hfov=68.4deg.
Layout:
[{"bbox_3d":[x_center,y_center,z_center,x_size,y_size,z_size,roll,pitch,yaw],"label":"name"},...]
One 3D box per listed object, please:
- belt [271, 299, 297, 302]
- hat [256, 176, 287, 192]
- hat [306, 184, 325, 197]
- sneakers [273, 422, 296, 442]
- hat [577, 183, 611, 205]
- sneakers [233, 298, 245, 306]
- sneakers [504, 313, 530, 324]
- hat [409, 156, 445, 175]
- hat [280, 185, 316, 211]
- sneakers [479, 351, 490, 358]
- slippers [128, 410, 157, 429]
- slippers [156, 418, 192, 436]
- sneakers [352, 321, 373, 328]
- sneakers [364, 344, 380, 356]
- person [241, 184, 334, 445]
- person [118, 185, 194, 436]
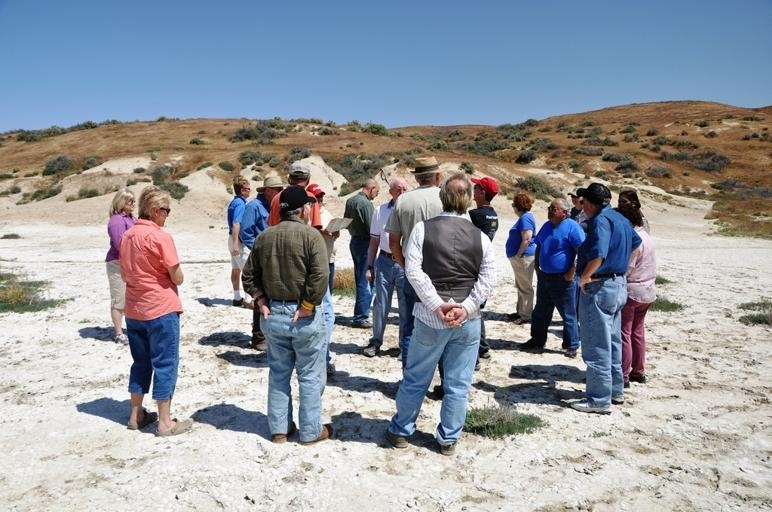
[{"bbox_3d":[-1.268,0.566,7.091,0.329,0.032,0.029,2,8,6],"label":"belt"},{"bbox_3d":[-1.885,-1.171,9.213,0.332,0.132,0.377,-1,-6,-39],"label":"hat"},{"bbox_3d":[-1.115,-1.009,8.696,0.237,0.123,0.341,0,5,-22],"label":"hat"},{"bbox_3d":[-1.332,2.316,7.465,0.135,0.139,0.360,3,9,16],"label":"sneakers"},{"bbox_3d":[2.961,-0.910,8.187,0.343,0.228,0.450,-11,26,-18],"label":"hat"},{"bbox_3d":[-2.958,0.925,11.397,0.172,0.109,0.167,0,-1,23],"label":"sneakers"},{"bbox_3d":[2.586,1.261,11.200,0.507,0.206,0.165,-22,-3,41],"label":"sneakers"},{"bbox_3d":[0.574,-1.246,7.896,0.346,0.267,0.241,2,8,4],"label":"hat"},{"bbox_3d":[-1.120,-0.720,7.199,0.398,0.209,0.277,-26,32,-35],"label":"hat"},{"bbox_3d":[1.635,1.649,9.488,0.282,0.114,0.346,1,-5,9],"label":"sneakers"},{"bbox_3d":[-3.237,2.189,7.575,0.164,0.158,0.407,3,4,18],"label":"slippers"},{"bbox_3d":[-2.750,2.237,7.388,0.341,0.115,0.177,2,-1,-24],"label":"slippers"},{"bbox_3d":[-0.462,1.292,10.612,0.268,0.098,0.137,-4,-4,7],"label":"sneakers"},{"bbox_3d":[-0.257,1.575,9.412,0.149,0.121,0.312,-1,-14,11],"label":"sneakers"},{"bbox_3d":[-1.216,0.807,7.217,1.038,3.236,0.397,1,9,-4],"label":"person"},{"bbox_3d":[-3.003,0.711,7.381,0.877,3.198,0.533,4,9,16],"label":"person"}]
